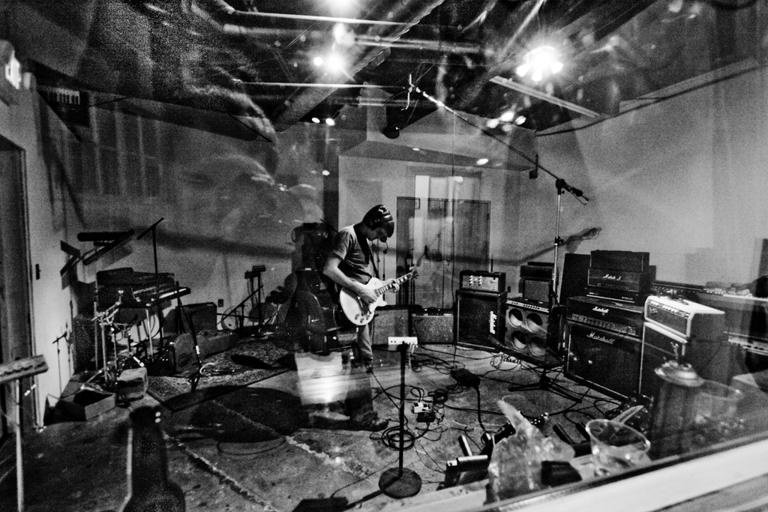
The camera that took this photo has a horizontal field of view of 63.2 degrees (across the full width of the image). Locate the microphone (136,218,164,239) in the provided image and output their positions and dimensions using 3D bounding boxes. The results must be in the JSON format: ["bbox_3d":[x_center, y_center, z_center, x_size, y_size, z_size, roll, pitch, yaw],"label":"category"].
[{"bbox_3d":[-3.236,-0.386,8.523,0.403,0.080,0.075,-36,-33,-1],"label":"microphone"}]

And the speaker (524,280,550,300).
[{"bbox_3d":[1.996,0.441,8.127,0.093,0.290,0.431,-4,2,-36],"label":"speaker"}]

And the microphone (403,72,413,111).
[{"bbox_3d":[0.298,-2.195,8.186,0.126,0.465,0.125,3,6,29],"label":"microphone"}]

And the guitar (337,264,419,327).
[{"bbox_3d":[-0.258,0.472,7.386,0.415,0.529,0.922,8,12,-45],"label":"guitar"}]

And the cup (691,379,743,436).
[{"bbox_3d":[3.308,1.469,6.108,0.576,0.482,0.456,5,-2,-32],"label":"cup"}]

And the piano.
[{"bbox_3d":[-3.133,0.388,7.915,0.989,0.351,0.483,-3,1,-28],"label":"piano"}]

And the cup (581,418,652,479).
[{"bbox_3d":[1.840,1.491,4.907,0.421,0.303,0.406,11,5,-1],"label":"cup"}]

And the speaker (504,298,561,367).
[{"bbox_3d":[1.928,0.987,8.030,0.350,0.865,0.894,1,-1,-30],"label":"speaker"}]
